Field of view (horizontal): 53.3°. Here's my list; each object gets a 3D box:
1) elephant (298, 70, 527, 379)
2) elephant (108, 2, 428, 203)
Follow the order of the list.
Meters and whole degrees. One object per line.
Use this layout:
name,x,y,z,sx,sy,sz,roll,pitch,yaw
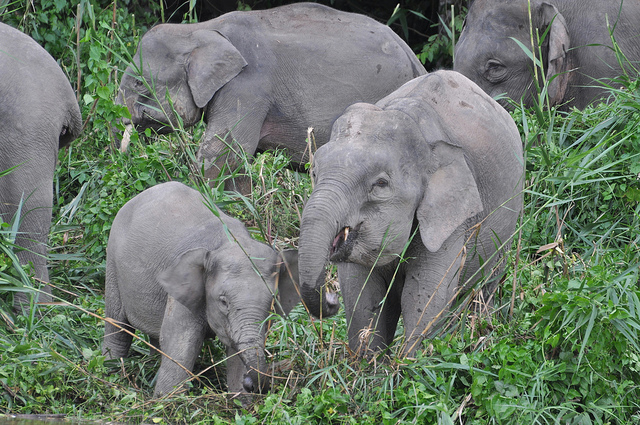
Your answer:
elephant,0.484,0.147,3.355,1.399,1.419,0.891,-15,39,-26
elephant,-0.457,-1.129,5.887,3.384,2.089,1.318,-4,3,-6
